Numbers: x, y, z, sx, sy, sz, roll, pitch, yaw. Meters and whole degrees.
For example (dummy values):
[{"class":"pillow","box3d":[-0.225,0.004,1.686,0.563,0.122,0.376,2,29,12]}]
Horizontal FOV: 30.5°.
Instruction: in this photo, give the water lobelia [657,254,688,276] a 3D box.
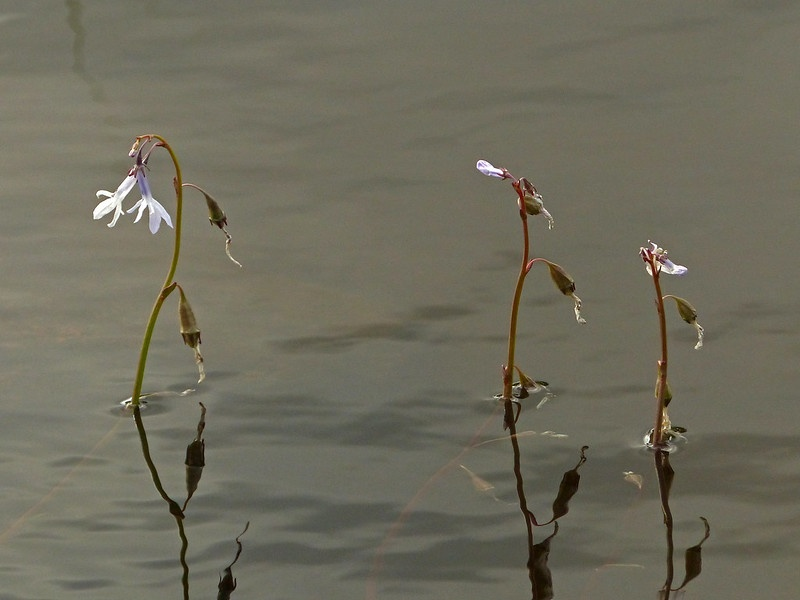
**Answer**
[{"class":"water lobelia","box3d":[1.010,-0.121,5.552,0.133,0.059,0.078,17,36,19]}]
